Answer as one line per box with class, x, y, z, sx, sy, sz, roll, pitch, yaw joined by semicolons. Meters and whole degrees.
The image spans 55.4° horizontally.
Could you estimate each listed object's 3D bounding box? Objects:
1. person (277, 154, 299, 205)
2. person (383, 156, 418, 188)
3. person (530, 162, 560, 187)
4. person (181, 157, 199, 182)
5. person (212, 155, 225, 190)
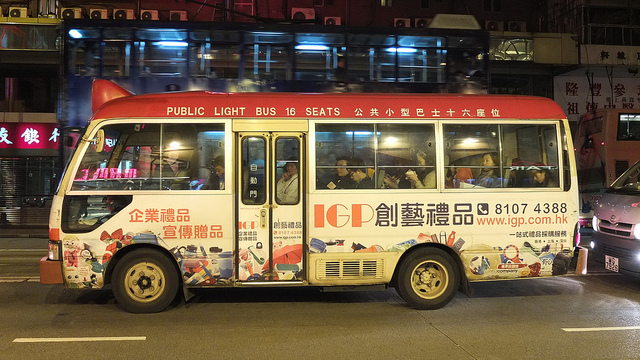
person;-0.982;-0.007;17.768;0.624;1.400;0.428;-4;13;-2
person;2.373;-0.206;17.877;1.027;0.813;0.227;8;0;-11
person;6.657;-0.098;18.201;0.853;0.858;0.612;-7;4;-18
person;-3.768;-0.333;17.612;0.439;0.647;0.232;8;3;28
person;-2.972;-0.221;17.689;0.345;0.921;0.286;-2;13;5
